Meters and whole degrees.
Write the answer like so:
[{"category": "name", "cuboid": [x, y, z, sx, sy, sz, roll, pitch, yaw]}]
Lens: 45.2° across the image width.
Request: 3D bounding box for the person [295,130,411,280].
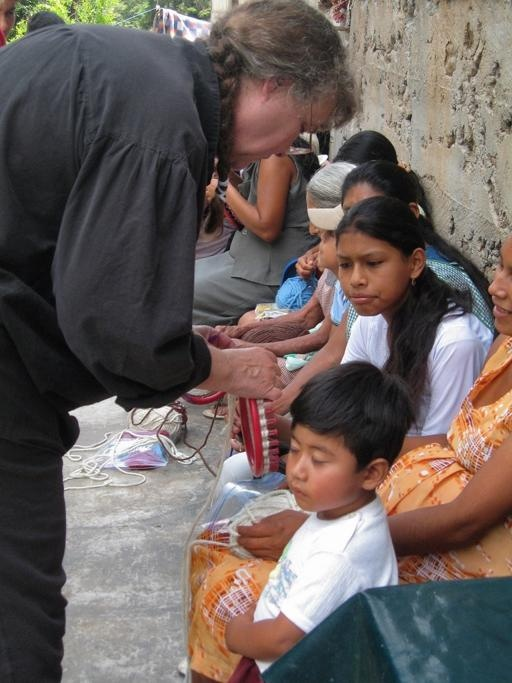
[{"category": "person", "cuboid": [0.354, -0.716, 3.288, 0.408, 0.845, 0.569, 15, 14, -25]}]
